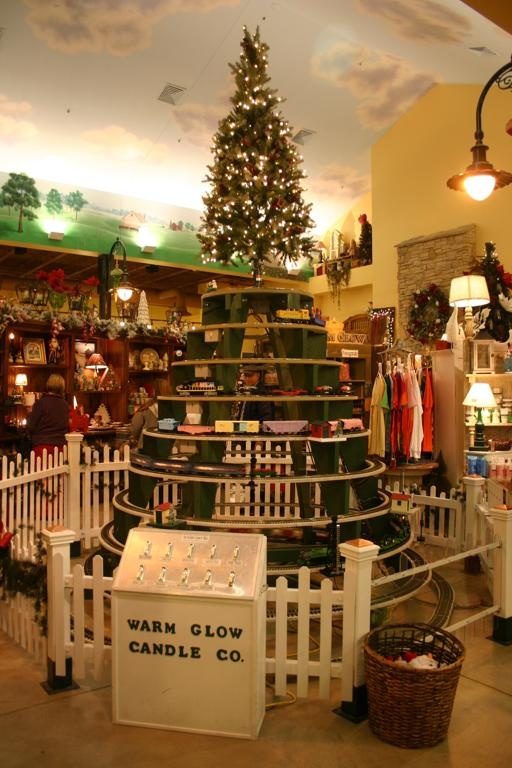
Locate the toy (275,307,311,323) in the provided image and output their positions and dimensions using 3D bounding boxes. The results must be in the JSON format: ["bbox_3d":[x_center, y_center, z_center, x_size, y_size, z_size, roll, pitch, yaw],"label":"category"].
[{"bbox_3d":[0.286,-0.485,4.309,0.305,0.102,0.103,0,1,-26],"label":"toy"}]

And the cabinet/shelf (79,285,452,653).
[{"bbox_3d":[-0.070,0.389,4.850,2.976,2.282,3.011,3,11,-1],"label":"cabinet/shelf"}]

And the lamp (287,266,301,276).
[{"bbox_3d":[0.992,-3.005,16.189,0.285,0.293,0.634,1,1,20],"label":"lamp"}]

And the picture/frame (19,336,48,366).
[{"bbox_3d":[-3.089,-0.443,8.291,0.051,0.500,0.395,-10,-4,36],"label":"picture/frame"}]

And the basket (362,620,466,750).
[{"bbox_3d":[0.709,1.350,2.721,0.427,0.394,0.522,1,1,19],"label":"basket"}]

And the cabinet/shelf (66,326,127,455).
[{"bbox_3d":[-2.404,0.106,9.243,0.831,1.692,0.492,2,11,-9],"label":"cabinet/shelf"}]

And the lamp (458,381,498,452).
[{"bbox_3d":[2.606,0.370,7.060,0.334,0.768,0.982,1,1,19],"label":"lamp"}]

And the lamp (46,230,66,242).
[{"bbox_3d":[-3.758,-2.760,11.294,0.270,0.144,0.338,0,1,-27],"label":"lamp"}]

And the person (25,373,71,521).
[{"bbox_3d":[-2.038,0.552,5.898,0.404,1.273,1.616,0,1,-20],"label":"person"}]

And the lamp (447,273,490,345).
[{"bbox_3d":[2.416,-0.847,6.803,0.615,0.724,0.635,2,-8,3],"label":"lamp"}]
